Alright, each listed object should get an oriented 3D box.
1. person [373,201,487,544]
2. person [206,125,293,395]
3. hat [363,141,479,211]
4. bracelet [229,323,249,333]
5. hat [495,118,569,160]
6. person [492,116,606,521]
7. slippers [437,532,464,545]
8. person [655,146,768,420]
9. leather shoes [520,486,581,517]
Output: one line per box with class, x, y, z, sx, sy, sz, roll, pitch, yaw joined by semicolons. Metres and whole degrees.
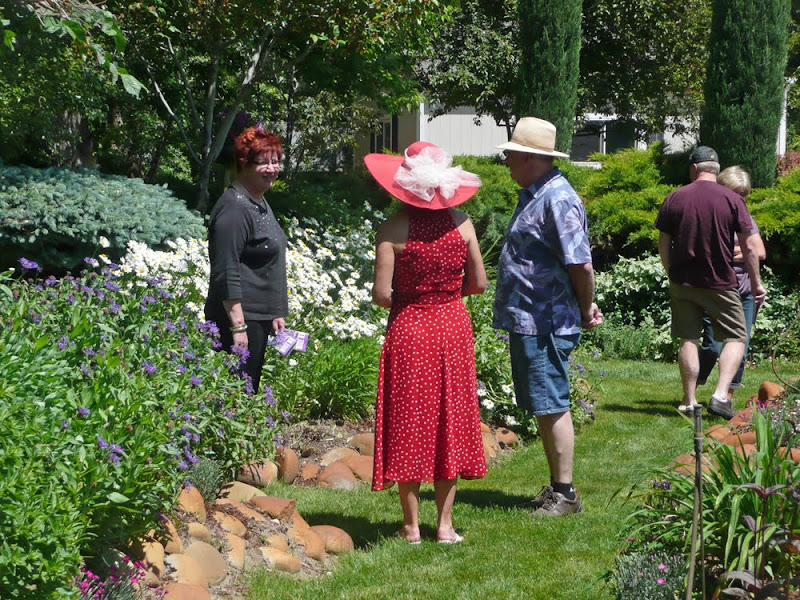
person;0.188;0.481;6.923;0.777;2.182;0.496;2;10;-3
person;-1.049;-0.265;7.285;0.598;1.839;0.412;-3;11;-28
hat;0.147;-0.835;6.947;0.762;0.403;0.387;2;11;-3
bracelet;-1.113;0.187;7.209;0.119;0.067;0.090;0;11;-14
hat;0.943;-1.133;7.386;0.318;0.166;0.353;12;12;7
person;1.004;0.107;7.371;0.727;2.725;0.537;5;11;18
slippers;0.335;1.593;6.936;0.174;0.059;0.066;0;1;-38
person;2.762;-0.156;9.395;0.949;2.376;0.673;6;11;19
leather shoes;1.069;1.419;7.398;0.389;0.195;0.154;0;8;4
